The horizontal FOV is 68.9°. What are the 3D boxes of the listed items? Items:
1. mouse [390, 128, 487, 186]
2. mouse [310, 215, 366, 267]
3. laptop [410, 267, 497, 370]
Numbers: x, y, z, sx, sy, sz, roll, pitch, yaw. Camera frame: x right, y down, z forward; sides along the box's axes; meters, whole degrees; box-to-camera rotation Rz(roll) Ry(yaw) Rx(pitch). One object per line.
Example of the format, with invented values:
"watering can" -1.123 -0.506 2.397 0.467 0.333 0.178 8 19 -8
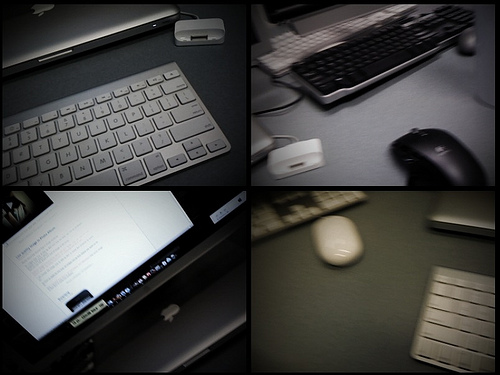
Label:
"mouse" 0.560 -0.086 1.106 0.159 0.076 0.238 -34 84 -15
"mouse" 0.263 0.158 1.082 0.153 0.095 0.116 -3 49 11
"laptop" 0.604 0.385 1.055 0.220 0.189 0.250 10 53 21
